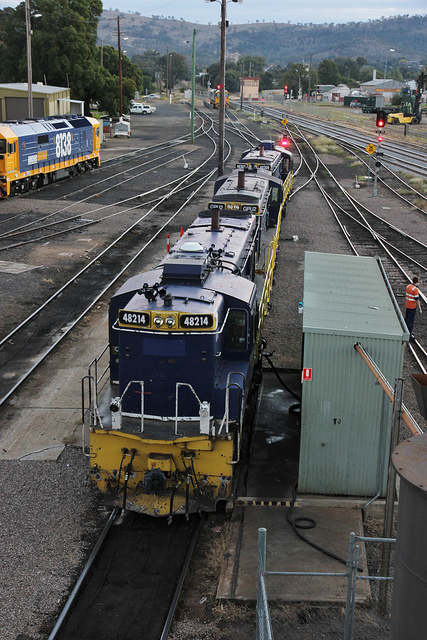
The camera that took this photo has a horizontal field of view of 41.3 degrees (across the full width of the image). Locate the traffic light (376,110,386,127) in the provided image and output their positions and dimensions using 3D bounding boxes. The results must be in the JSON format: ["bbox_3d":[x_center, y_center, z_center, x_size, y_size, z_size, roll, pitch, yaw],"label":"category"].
[{"bbox_3d":[10.539,-12.700,35.652,0.424,1.044,1.015,1,14,8],"label":"traffic light"}]

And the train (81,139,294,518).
[{"bbox_3d":[0.121,-1.304,14.311,2.392,3.424,14.316,4,24,5],"label":"train"}]
